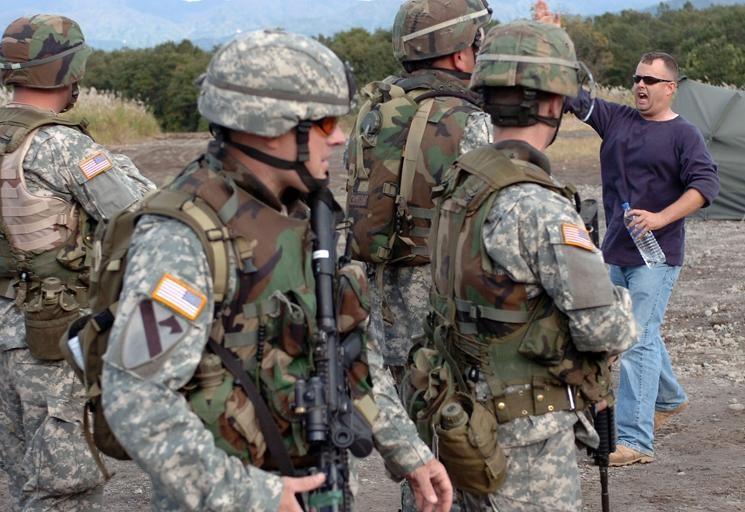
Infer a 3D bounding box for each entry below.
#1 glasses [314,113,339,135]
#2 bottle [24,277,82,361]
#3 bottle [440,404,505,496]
[{"bbox_3d":[-0.251,-0.679,4.575,0.092,0.099,0.035,-6,20,-31],"label":"glasses"},{"bbox_3d":[-2.061,0.408,5.688,0.307,0.521,0.131,-2,6,-12],"label":"bottle"},{"bbox_3d":[0.576,1.050,5.013,0.309,0.561,0.438,-11,21,-1],"label":"bottle"}]
